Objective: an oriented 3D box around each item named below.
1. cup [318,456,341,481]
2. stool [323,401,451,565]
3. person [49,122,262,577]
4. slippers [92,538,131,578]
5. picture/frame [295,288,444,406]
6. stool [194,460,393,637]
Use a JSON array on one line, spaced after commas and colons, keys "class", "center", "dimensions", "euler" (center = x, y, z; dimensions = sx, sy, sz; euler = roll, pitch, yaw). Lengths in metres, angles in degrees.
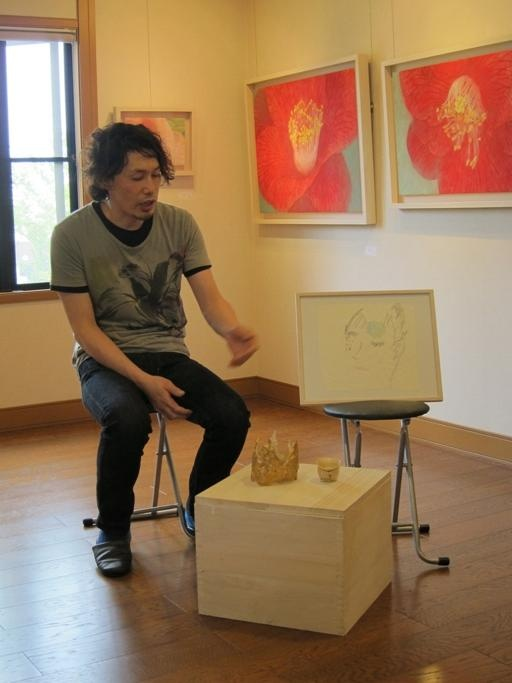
[{"class": "cup", "center": [0.193, 0.343, 1.552], "dimensions": [0.051, 0.041, 0.059], "euler": [1, -2, 3]}, {"class": "stool", "center": [0.388, 0.465, 1.922], "dimensions": [0.389, 0.493, 0.387], "euler": [1, -3, -9]}, {"class": "person", "center": [-0.359, 0.005, 1.979], "dimensions": [0.633, 1.456, 0.474], "euler": [-1, -2, -19]}, {"class": "slippers", "center": [-0.456, 0.692, 1.854], "dimensions": [0.114, 0.085, 0.170], "euler": [-1, -2, -20]}, {"class": "picture/frame", "center": [0.407, 0.025, 2.099], "dimensions": [0.462, 0.346, 0.047], "euler": [1, -16, -4]}, {"class": "stool", "center": [0.100, 0.562, 1.530], "dimensions": [0.543, 0.262, 0.521], "euler": [5, -14, -13]}]
